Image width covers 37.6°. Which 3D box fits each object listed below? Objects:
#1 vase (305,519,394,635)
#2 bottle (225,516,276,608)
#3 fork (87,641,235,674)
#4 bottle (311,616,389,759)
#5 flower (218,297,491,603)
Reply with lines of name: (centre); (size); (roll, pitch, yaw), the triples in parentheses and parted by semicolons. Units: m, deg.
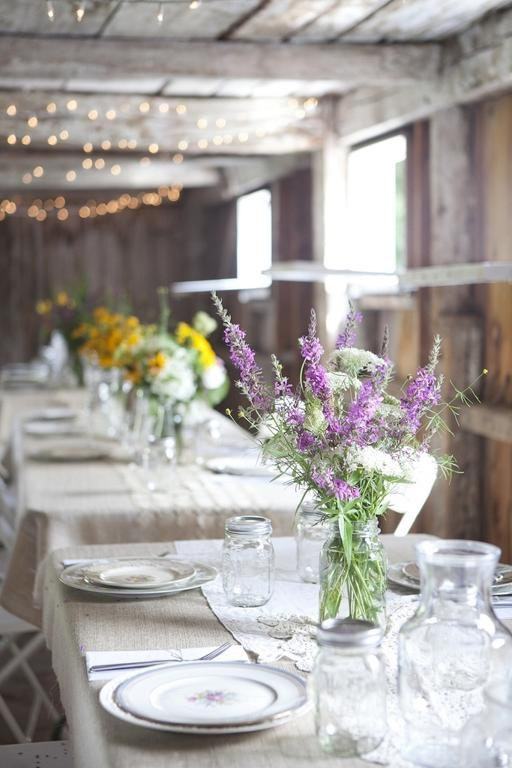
vase: (0.114, 0.233, 0.885); (0.088, 0.139, 0.110); (-4, 7, 4)
bottle: (-0.012, 0.256, 1.093); (0.085, 0.113, 0.074); (-1, -3, 5)
fork: (-0.114, 0.299, 0.841); (0.141, 0.018, 0.044); (-5, 3, -15)
bottle: (0.076, 0.253, 0.608); (0.057, 0.120, 0.031); (-4, 8, 6)
flower: (0.130, 0.104, 0.966); (0.299, 0.326, 0.244); (3, 15, 22)
